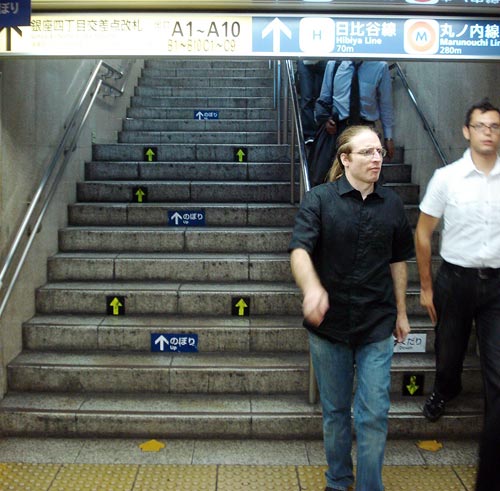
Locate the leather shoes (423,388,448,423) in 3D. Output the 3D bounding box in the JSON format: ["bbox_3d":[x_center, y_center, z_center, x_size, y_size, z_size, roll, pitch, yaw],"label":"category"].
[{"bbox_3d":[1.198,1.017,4.095,0.114,0.160,0.322,1,2,20],"label":"leather shoes"}]

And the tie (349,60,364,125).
[{"bbox_3d":[0.797,-1.155,4.683,0.085,0.455,0.204,1,13,16],"label":"tie"}]

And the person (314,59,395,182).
[{"bbox_3d":[0.776,-0.964,4.856,0.589,1.372,0.360,3,32,8],"label":"person"}]
